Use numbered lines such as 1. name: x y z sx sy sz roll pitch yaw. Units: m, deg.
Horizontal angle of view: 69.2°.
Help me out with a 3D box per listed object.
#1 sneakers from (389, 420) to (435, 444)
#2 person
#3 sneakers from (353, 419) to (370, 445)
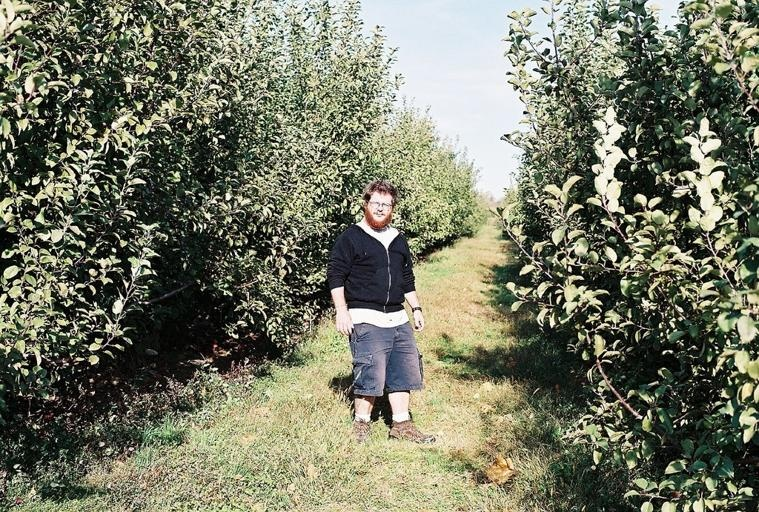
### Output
1. sneakers: 0.350 2.030 6.413 0.579 0.271 0.212 3 -4 2
2. person: -0.022 0.623 6.355 1.143 2.955 0.811 0 10 -7
3. sneakers: -0.202 1.982 6.193 0.128 0.118 0.268 10 16 -15
